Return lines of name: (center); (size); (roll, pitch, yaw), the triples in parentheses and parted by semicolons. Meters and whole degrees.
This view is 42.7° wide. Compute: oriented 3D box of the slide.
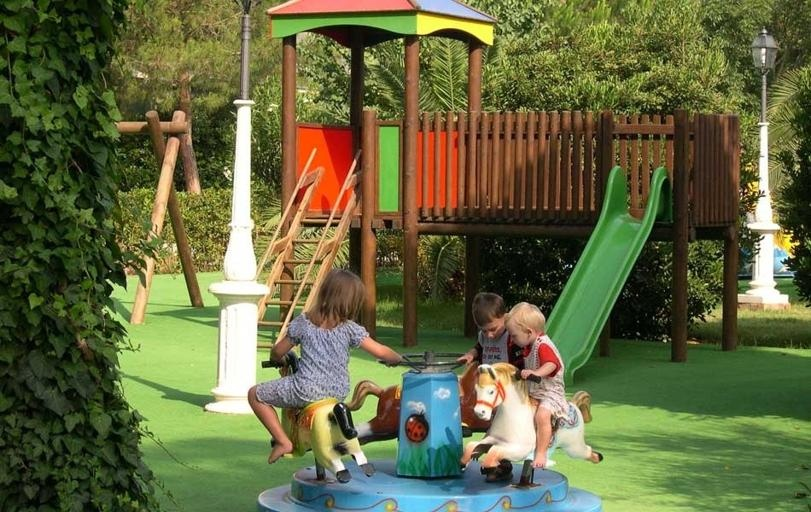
slide: (2.680, 0.174, 14.241); (0.871, 2.930, 2.524); (3, 2, 32)

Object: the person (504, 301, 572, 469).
person: (1.113, 1.050, 8.627); (0.416, 1.294, 0.463); (0, 2, -33)

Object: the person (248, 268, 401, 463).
person: (-0.699, 0.910, 8.688); (1.022, 1.702, 0.797); (12, 3, 2)
